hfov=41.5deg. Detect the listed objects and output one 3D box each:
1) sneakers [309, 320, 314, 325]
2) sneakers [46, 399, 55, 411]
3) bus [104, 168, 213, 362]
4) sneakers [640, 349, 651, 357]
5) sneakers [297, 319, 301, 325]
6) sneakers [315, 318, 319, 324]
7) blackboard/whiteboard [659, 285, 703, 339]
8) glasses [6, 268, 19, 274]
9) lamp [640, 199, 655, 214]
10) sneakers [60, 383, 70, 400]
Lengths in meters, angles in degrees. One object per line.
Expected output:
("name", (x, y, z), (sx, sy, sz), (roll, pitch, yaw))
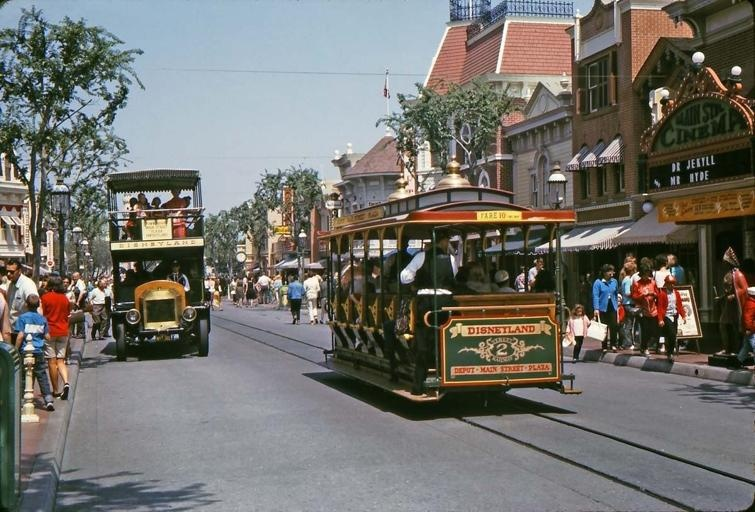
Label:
("sneakers", (-2.604, 2.668, 40.147), (0.155, 0.146, 0.102), (-3, -3, 31))
("sneakers", (-6.109, 2.781, 18.635), (0.158, 0.188, 0.339), (-3, 6, -19))
("bus", (-6.194, 0.326, 28.197), (2.215, 4.753, 5.147), (-2, 2, -15))
("sneakers", (6.761, 2.448, 25.002), (0.129, 0.163, 0.405), (-1, -10, 0))
("sneakers", (-3.175, 2.671, 40.425), (0.140, 0.196, 0.436), (1, -7, -13))
("sneakers", (-2.404, 2.660, 40.517), (0.167, 0.241, 0.123), (0, 8, -3))
("blackboard/whiteboard", (7.375, 1.393, 24.294), (1.305, 1.880, 0.185), (-1, 2, -8))
("glasses", (-6.956, 0.276, 19.109), (0.223, 0.117, 0.248), (-4, 6, -34))
("lamp", (9.893, -1.833, 36.396), (0.402, 0.437, 0.258), (-16, 2, 2))
("sneakers", (-6.174, 2.702, 19.768), (0.128, 0.375, 0.147), (11, 7, -23))
